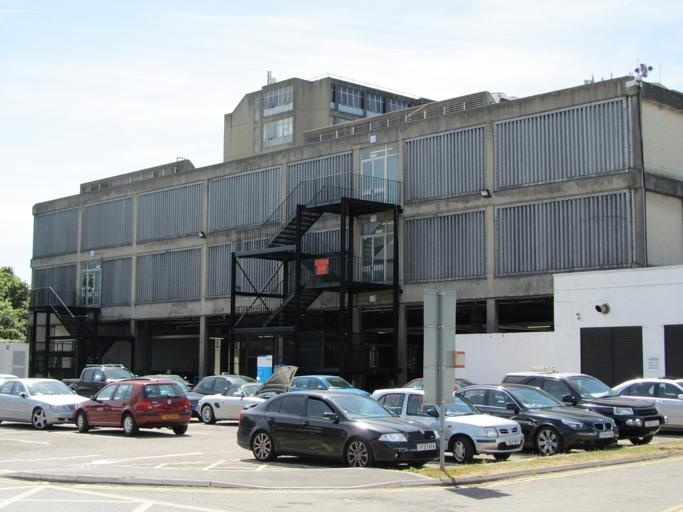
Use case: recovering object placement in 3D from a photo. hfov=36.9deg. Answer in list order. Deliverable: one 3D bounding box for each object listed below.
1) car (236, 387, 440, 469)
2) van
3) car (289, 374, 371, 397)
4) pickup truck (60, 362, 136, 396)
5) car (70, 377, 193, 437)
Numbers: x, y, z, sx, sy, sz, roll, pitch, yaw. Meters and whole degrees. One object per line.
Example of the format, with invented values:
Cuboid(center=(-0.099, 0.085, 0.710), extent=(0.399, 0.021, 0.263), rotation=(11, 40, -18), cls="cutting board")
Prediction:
Cuboid(center=(-0.408, 4.472, 26.309), extent=(5.115, 1.823, 2.142), rotation=(-6, -7, 44), cls="car")
Cuboid(center=(2.729, 4.786, 28.651), extent=(2.380, 1.976, 5.010), rotation=(6, -10, -43), cls="van")
Cuboid(center=(-0.647, 4.765, 36.535), extent=(2.184, 1.084, 2.089), rotation=(3, -7, -42), cls="car")
Cuboid(center=(-10.243, 5.563, 43.662), extent=(3.471, 1.536, 1.622), rotation=(-4, -10, 33), cls="pickup truck")
Cuboid(center=(-7.095, 5.061, 34.598), extent=(4.034, 1.904, 2.372), rotation=(-4, -7, 41), cls="car")
